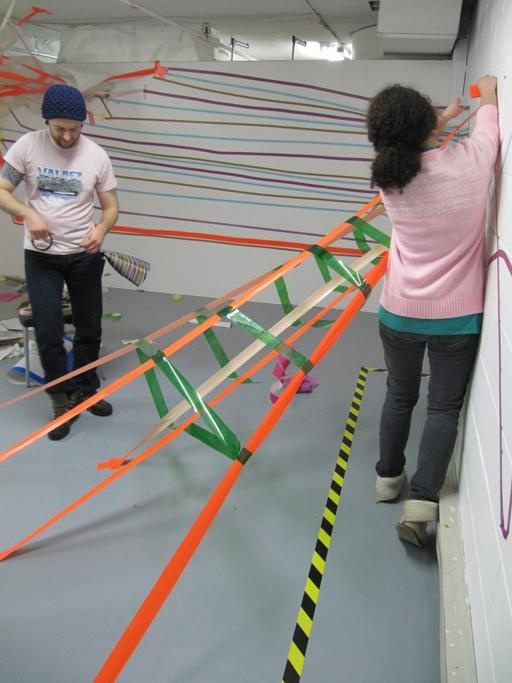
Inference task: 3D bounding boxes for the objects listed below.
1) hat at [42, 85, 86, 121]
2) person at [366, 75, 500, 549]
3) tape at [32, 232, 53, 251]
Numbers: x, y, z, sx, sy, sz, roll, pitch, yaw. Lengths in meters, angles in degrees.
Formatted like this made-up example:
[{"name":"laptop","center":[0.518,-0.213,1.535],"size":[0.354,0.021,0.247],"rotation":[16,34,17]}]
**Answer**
[{"name":"hat","center":[-0.877,-1.054,2.014],"size":[0.181,0.139,0.182],"rotation":[3,43,-12]},{"name":"person","center":[0.510,-0.057,1.377],"size":[0.346,1.487,0.492],"rotation":[6,15,21]},{"name":"tape","center":[-1.013,-0.471,2.078],"size":[0.092,0.082,0.092],"rotation":[-6,16,-25]}]
